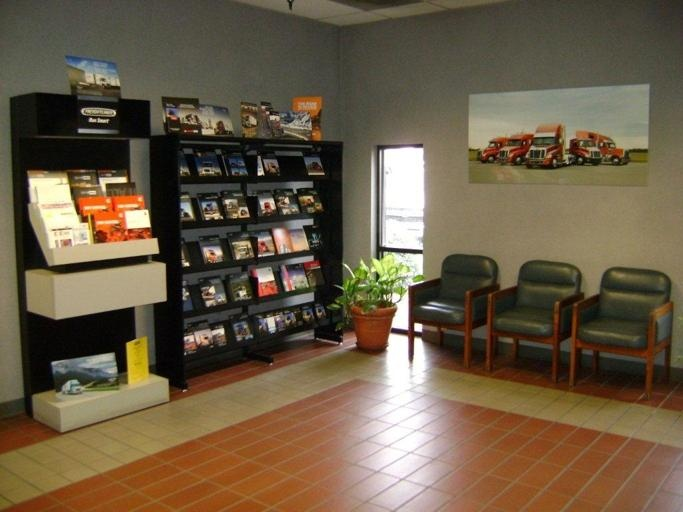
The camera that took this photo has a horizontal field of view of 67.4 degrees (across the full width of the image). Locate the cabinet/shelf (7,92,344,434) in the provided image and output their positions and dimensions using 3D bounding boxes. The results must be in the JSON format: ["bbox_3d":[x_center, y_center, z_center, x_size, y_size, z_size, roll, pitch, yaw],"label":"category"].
[{"bbox_3d":[-1.646,0.080,4.931,0.672,2.395,3.657,3,6,36],"label":"cabinet/shelf"}]

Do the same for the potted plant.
[{"bbox_3d":[0.356,0.534,6.588,1.353,1.178,1.157,0,-2,-5],"label":"potted plant"}]
